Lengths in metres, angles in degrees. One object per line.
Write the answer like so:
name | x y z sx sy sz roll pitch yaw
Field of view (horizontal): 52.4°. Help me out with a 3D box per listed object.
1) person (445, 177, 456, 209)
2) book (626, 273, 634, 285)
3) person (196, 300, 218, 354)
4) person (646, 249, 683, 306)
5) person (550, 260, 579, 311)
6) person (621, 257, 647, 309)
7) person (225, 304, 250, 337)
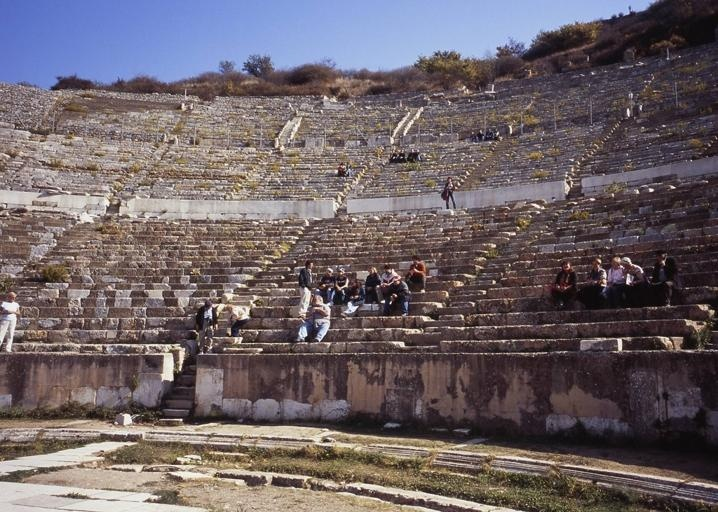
person | 3.851 -2.648 30.980 0.449 1.296 1.487 -1 5 7
book | 6.636 0.613 18.053 0.216 0.310 0.218 9 -23 4
person | -4.321 2.088 20.762 0.559 1.422 0.963 -3 5 -12
person | 7.348 0.570 17.650 0.677 1.304 0.845 0 5 24
person | 5.202 0.772 18.644 0.620 1.197 0.344 -1 5 14
person | 6.757 0.749 18.045 0.722 1.380 0.569 8 -24 7
person | -3.522 1.944 21.165 0.484 0.741 0.348 2 -48 11
